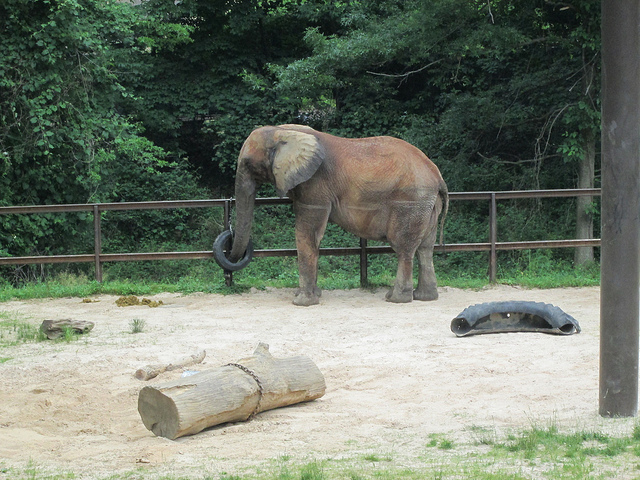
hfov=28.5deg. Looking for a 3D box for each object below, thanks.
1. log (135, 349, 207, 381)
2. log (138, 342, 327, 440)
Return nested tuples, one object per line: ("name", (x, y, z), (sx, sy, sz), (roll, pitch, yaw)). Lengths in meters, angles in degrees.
("log", (-2.451, 2.056, 20.695), (0.813, 0.230, 0.188), (-14, 27, -30))
("log", (-1.405, 2.374, 19.857), (2.674, 1.202, 1.213), (-7, 10, -29))
